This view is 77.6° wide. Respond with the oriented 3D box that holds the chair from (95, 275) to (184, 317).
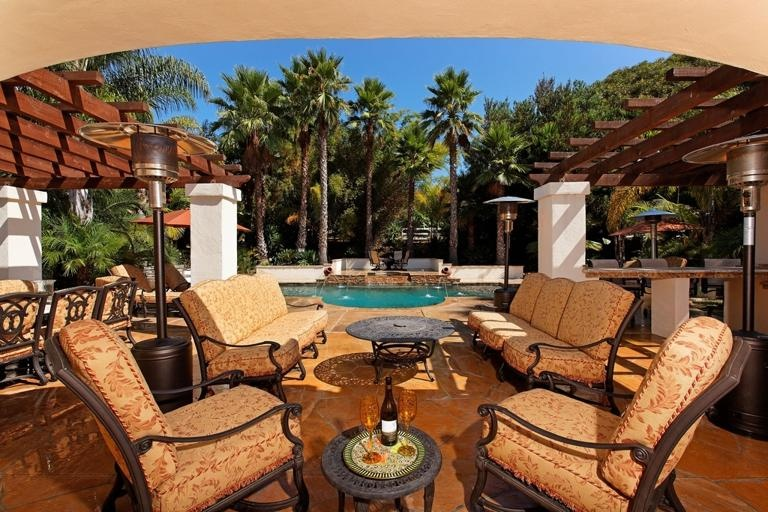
[{"bbox_3d":[-3.926,0.437,7.646,1.584,0.765,0.843,1,0,12],"label":"chair"}]
